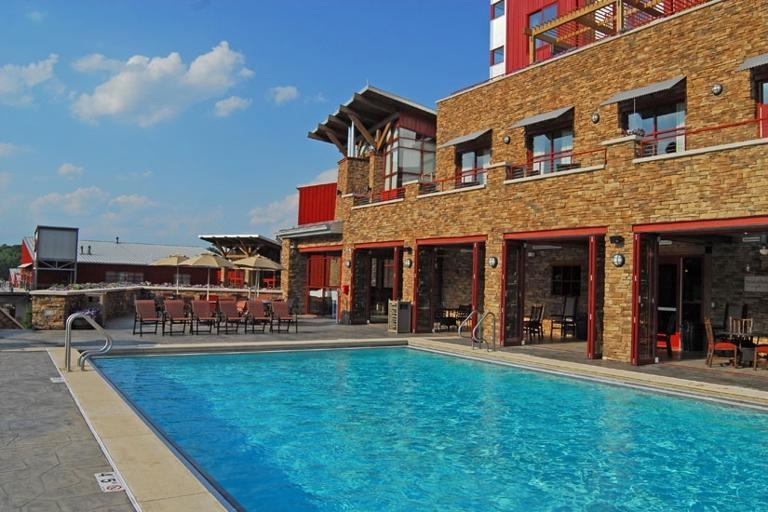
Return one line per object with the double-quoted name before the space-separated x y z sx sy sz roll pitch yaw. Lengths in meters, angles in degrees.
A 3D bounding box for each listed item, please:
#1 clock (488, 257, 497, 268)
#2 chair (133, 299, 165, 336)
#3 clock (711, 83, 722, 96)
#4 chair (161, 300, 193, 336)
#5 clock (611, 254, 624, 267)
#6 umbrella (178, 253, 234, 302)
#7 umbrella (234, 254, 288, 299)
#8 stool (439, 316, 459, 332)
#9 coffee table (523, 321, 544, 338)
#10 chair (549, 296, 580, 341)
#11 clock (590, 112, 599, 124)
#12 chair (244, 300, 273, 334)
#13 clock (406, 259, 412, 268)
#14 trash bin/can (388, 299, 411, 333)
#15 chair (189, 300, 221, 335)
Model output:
"clock" 3.934 0.213 21.991 0.314 0.360 0.361 1 -1 -3
"chair" -8.525 2.192 21.966 1.105 1.089 1.059 2 1 -7
"clock" 10.072 -5.052 18.403 0.085 0.291 0.304 3 3 -39
"chair" -7.633 2.236 22.389 1.154 1.174 1.123 1 -3 18
"clock" 7.219 0.121 18.737 0.089 0.350 0.366 1 1 -34
"umbrella" -7.567 0.664 26.193 1.529 1.409 1.522 1 1 8
"umbrella" -6.063 1.067 28.810 2.438 2.378 2.466 4 0 31
"stool" 2.807 2.928 26.407 0.700 0.426 0.667 0 -5 -1
"coffee table" 5.735 2.798 23.335 0.648 0.710 1.651 -1 -5 12
"chair" 7.283 2.444 24.507 1.027 1.683 1.763 -1 -5 7
"clock" 7.207 -4.734 20.833 0.188 0.376 0.306 2 -6 -26
"chair" -4.985 2.363 24.018 0.984 1.086 1.029 3 -1 36
"clock" 1.006 0.267 25.170 0.087 0.350 0.417 5 -7 -44
"trash bin/can" 0.659 2.453 24.675 0.919 1.302 0.479 0 -5 -2
"chair" -6.945 2.330 23.471 1.015 1.182 2.593 1 -5 -15
